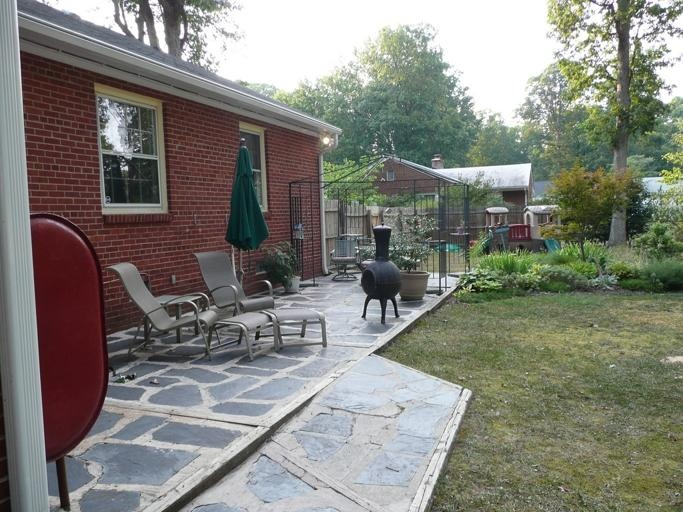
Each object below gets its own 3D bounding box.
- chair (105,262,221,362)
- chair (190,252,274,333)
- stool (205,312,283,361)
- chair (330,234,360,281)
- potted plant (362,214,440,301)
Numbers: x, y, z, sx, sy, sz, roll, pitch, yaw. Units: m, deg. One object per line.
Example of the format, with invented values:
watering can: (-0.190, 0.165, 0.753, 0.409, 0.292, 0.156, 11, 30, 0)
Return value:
chair: (-2.236, 0.652, 6.613, 1.292, 1.036, 0.764, 3, 5, 0)
chair: (-1.645, 0.447, 7.921, 1.094, 0.982, 0.815, 3, 6, 31)
stool: (-1.256, 0.996, 6.614, 0.680, 0.473, 0.858, -5, 3, 15)
chair: (0.076, 0.044, 12.953, 0.732, 1.137, 0.674, 0, -9, -8)
potted plant: (0.889, 0.011, 9.097, 1.467, 1.544, 1.346, 1, 0, 18)
